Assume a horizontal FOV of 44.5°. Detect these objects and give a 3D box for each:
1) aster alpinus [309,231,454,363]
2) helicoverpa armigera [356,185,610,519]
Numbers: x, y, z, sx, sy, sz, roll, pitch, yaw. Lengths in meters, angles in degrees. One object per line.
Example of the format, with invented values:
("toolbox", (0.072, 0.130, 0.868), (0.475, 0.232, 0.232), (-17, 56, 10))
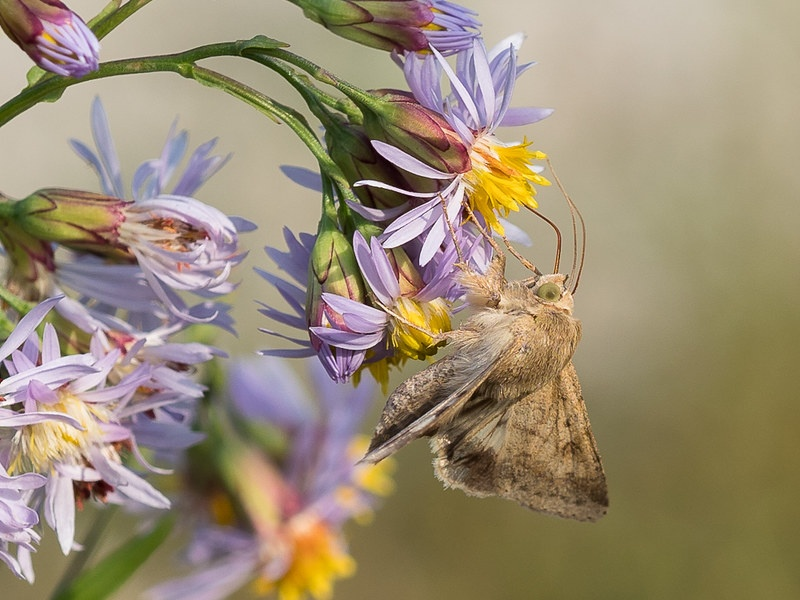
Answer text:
("aster alpinus", (0.002, -0.011, 1.148), (0.074, 0.187, 0.192), (23, -71, 11))
("helicoverpa armigera", (0.142, 0.125, 1.294), (0.340, 0.580, 0.391), (-2, 3, 8))
